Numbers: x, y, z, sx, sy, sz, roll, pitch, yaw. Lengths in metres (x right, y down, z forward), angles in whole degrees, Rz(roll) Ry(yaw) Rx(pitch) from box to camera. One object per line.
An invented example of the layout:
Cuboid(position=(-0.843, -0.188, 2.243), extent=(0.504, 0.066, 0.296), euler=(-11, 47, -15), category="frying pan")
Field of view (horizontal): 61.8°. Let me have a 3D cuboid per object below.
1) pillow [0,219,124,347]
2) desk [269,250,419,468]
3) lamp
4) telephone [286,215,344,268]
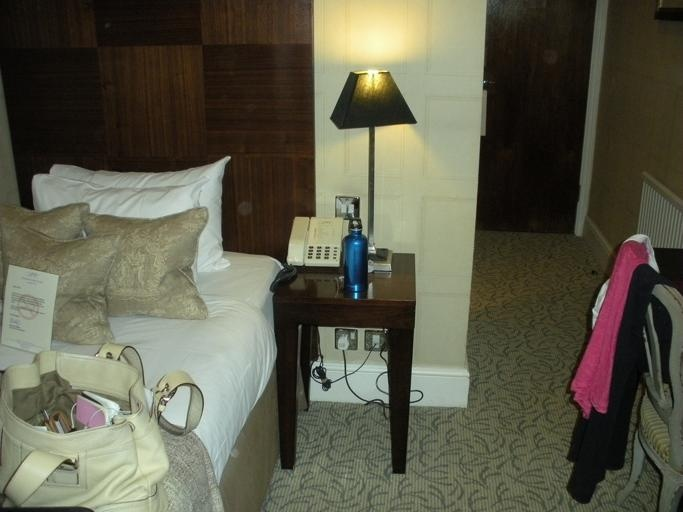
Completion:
Cuboid(position=(-1.027, 0.108, 2.074), extent=(0.374, 0.389, 0.160), euler=(7, 6, 27), category="pillow")
Cuboid(position=(0.024, 0.396, 3.003), extent=(0.722, 1.204, 0.783), euler=(1, 19, 4), category="desk")
Cuboid(position=(0.138, -0.411, 2.601), extent=(0.355, 0.836, 0.355), euler=(-1, 20, -3), category="lamp")
Cuboid(position=(-0.112, -0.069, 2.591), extent=(0.216, 0.249, 0.095), euler=(4, -12, 3), category="telephone")
